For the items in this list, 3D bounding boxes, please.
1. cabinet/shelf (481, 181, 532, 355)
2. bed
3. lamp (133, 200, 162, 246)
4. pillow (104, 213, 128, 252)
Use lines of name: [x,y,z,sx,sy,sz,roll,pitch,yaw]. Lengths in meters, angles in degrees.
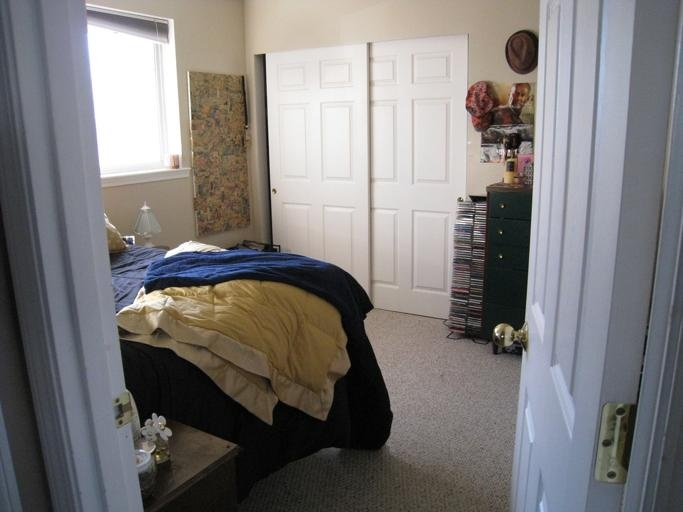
cabinet/shelf: [1.203,-0.192,3.502,0.300,0.617,0.338,15,46,34]
bed: [-0.318,0.597,2.273,1.035,0.592,1.078,6,13,30]
lamp: [-1.550,-0.248,3.937,0.186,0.360,0.403,-7,12,-21]
pillow: [-1.463,-0.161,3.207,0.084,0.299,0.236,-12,9,-43]
